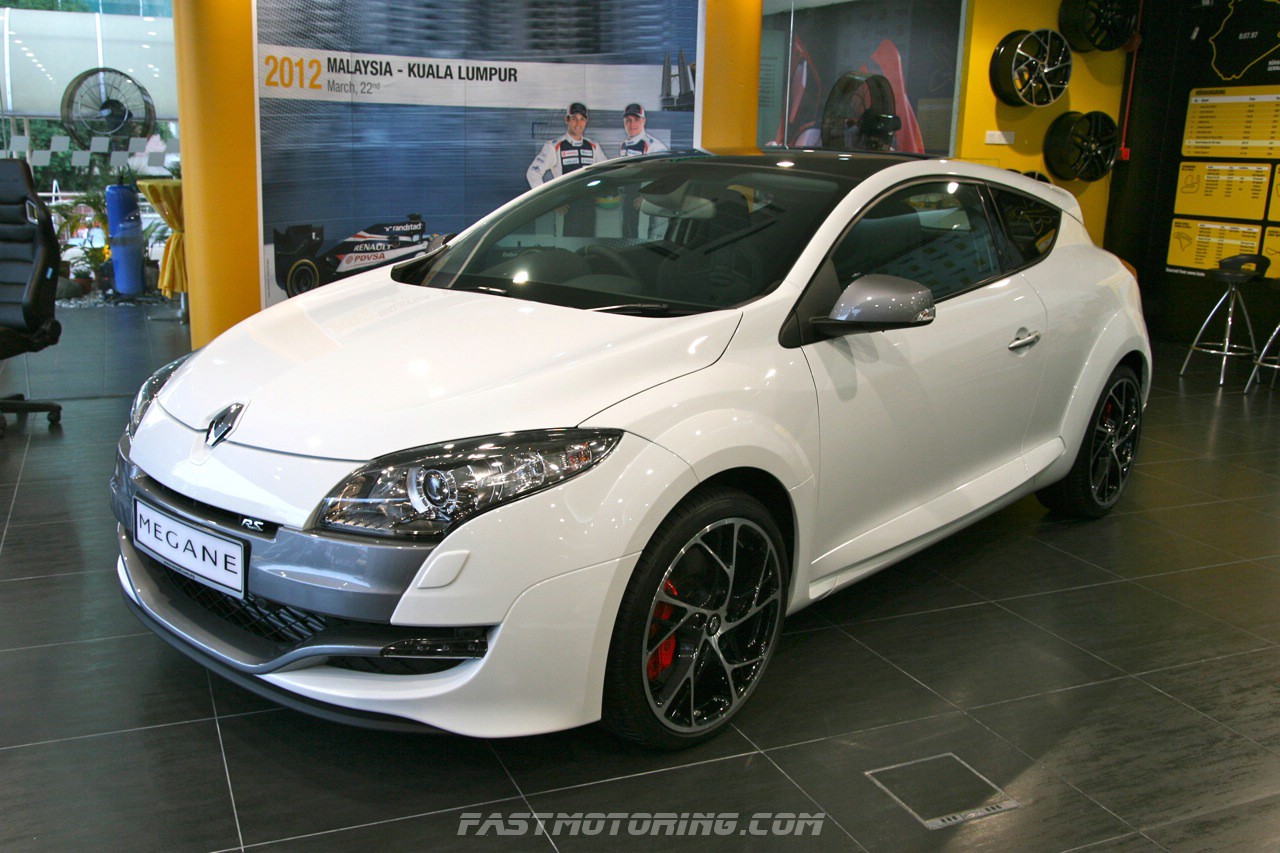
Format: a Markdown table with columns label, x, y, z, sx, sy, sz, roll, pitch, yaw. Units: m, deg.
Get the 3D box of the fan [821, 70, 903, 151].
| label | x | y | z | sx | sy | sz | roll | pitch | yaw |
| --- | --- | --- | --- | --- | --- | --- | --- | --- | --- |
| fan | 2.089 | -2.959 | 7.781 | 0.882 | 0.646 | 0.260 | -11 | 21 | -30 |
